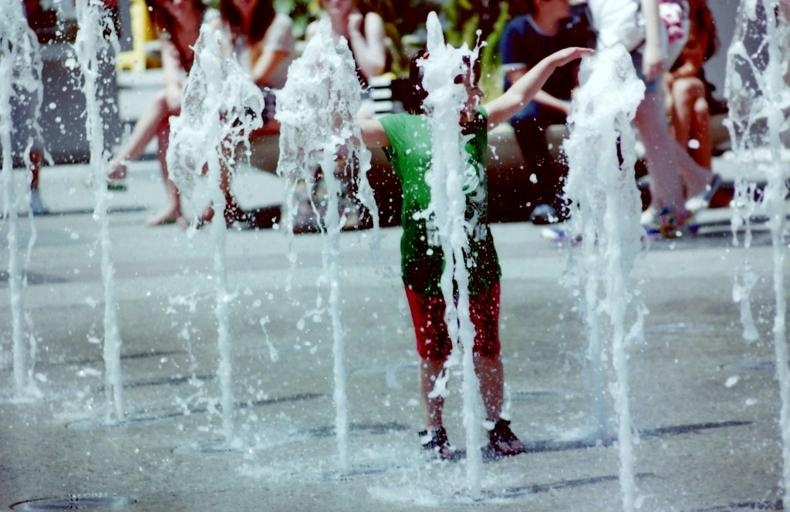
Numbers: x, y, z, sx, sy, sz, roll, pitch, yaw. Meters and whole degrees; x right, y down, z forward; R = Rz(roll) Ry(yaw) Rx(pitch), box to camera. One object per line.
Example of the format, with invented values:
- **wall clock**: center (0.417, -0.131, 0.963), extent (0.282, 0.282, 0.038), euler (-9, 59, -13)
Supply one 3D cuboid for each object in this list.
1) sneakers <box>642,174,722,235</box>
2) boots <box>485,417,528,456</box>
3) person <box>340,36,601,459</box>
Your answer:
- **sneakers**: center (1.896, -0.333, 10.670), extent (0.188, 0.236, 0.568), euler (7, -29, -32)
- **boots**: center (0.562, 0.918, 8.279), extent (0.158, 0.105, 0.283), euler (-4, 31, -20)
- **person**: center (0.353, 0.000, 8.202), extent (0.925, 2.066, 0.329), euler (-5, 4, 4)
